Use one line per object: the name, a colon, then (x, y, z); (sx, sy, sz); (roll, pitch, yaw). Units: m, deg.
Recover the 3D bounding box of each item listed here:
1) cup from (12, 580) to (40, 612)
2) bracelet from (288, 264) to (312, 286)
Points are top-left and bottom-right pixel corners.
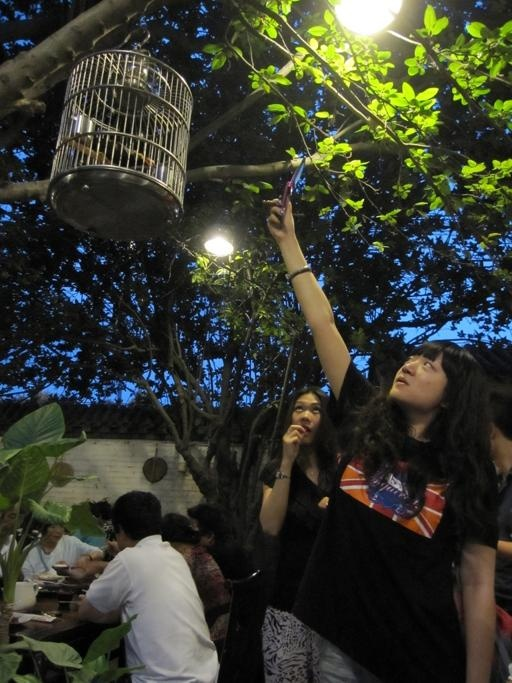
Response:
cup: (-1.042, 1.159, 2.678); (0.103, 0.108, 0.127); (-3, -23, 7)
bracelet: (0.133, -0.199, 1.755); (0.079, 0.021, 0.076); (-28, 7, -3)
